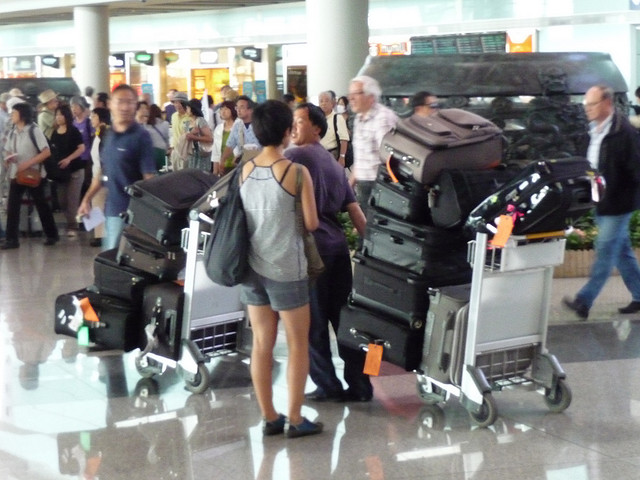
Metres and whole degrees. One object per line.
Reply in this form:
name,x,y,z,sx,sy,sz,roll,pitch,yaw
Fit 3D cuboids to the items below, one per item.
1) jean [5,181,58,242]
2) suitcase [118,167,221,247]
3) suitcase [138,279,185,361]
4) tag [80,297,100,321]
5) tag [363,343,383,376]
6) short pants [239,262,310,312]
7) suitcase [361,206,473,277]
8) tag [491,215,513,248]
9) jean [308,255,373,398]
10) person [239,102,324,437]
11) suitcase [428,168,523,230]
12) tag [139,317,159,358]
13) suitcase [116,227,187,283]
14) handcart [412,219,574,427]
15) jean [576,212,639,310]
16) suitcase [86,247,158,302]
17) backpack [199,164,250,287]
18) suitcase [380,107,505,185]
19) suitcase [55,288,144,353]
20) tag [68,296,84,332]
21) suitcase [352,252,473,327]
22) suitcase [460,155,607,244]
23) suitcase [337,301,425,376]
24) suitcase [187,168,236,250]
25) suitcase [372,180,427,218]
jean,-4.686,-0.467,9.053,0.739,0.972,0.273,-7,14,-24
suitcase,-1.126,-0.305,4.176,0.792,0.305,0.632,-10,25,-44
suitcase,-1.075,0.549,4.146,0.363,0.542,0.328,13,19,29
tag,-1.785,0.544,4.359,0.188,0.163,0.049,-23,-2,21
tag,0.328,0.767,3.587,0.129,0.189,0.022,23,-20,-35
short pants,-0.270,0.234,3.234,0.467,0.275,0.261,0,8,32
suitcase,0.847,-0.008,3.794,0.958,0.332,0.655,-5,15,-29
tag,1.017,-0.046,3.131,0.043,0.138,0.160,-4,2,-39
jean,0.078,0.523,3.889,0.373,1.033,0.274,-12,-33,14
person,-0.232,0.204,3.203,0.429,1.922,0.315,-3,13,-5
suitcase,0.916,-0.247,3.474,0.491,0.294,0.368,-8,4,-33
tag,-1.233,0.712,4.084,0.150,0.374,0.121,26,43,14
suitcase,-1.186,0.119,4.439,0.679,0.263,0.544,13,7,27
handcart,1.067,0.515,3.656,0.830,1.087,0.826,1,2,-35
jean,2.741,0.153,5.392,0.610,0.900,0.583,-2,17,-15
suitcase,-1.463,0.265,4.415,0.463,0.356,0.437,10,15,33
backpack,-0.490,-0.072,3.098,0.277,0.643,0.250,-11,16,-36
suitcase,0.772,-0.609,3.544,0.696,0.262,0.592,-24,36,-33
suitcase,-1.642,0.615,4.384,0.758,0.352,0.543,10,9,30
tag,-1.910,0.597,4.434,0.203,0.226,0.062,4,3,23
suitcase,0.478,0.317,3.891,0.651,0.214,0.717,16,5,18
suitcase,1.225,-0.188,3.393,0.946,0.331,0.506,-17,-2,-22
suitcase,0.396,0.547,3.748,0.551,0.282,0.470,17,20,-1
suitcase,-0.686,-0.150,3.561,0.288,0.609,0.938,-4,12,-13
suitcase,0.486,-0.241,3.538,0.285,0.089,0.265,22,3,-1
